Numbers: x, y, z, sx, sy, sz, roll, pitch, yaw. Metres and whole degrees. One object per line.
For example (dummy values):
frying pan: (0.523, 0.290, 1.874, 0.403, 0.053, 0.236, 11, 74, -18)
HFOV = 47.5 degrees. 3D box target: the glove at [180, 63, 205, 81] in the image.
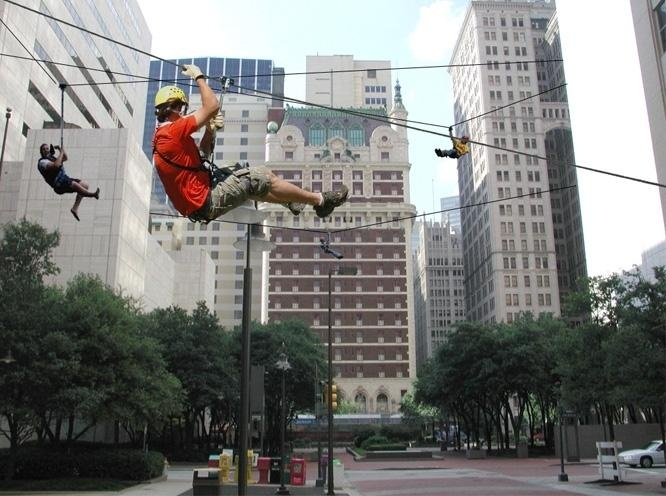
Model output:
glove: (-5.616, -7.013, 30.400, 0.710, 0.676, 0.357, 6, -16, 8)

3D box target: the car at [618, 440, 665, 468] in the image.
car: (25.758, 17.083, 62.786, 3.136, 2.005, 2.332, -7, -16, 18)

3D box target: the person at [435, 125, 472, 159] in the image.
person: (5.715, -4.862, 35.948, 1.069, 1.740, 0.820, 33, -19, 7)
